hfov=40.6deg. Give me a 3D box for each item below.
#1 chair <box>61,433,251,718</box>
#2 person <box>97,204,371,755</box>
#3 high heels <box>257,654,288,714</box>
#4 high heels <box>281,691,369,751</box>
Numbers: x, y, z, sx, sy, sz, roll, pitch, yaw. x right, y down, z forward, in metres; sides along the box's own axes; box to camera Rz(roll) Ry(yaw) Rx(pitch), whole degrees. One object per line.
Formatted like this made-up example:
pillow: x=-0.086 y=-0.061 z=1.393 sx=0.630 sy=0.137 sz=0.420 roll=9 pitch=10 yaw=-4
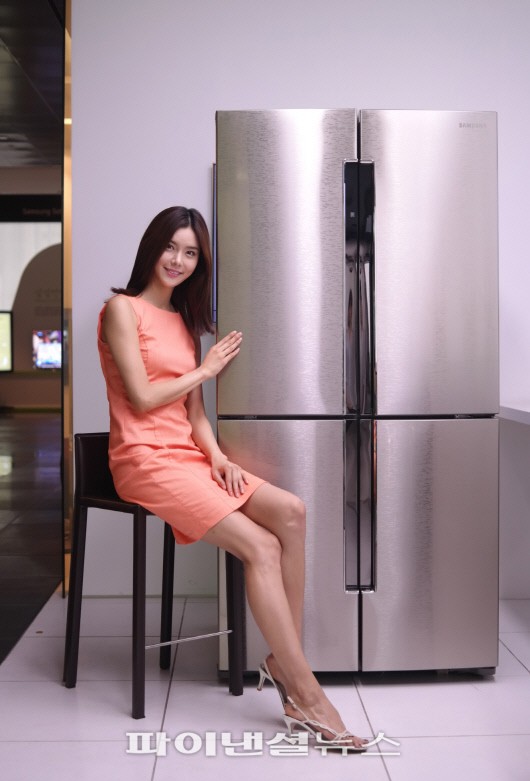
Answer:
chair: x=-0.315 y=0.496 z=2.051 sx=0.503 sy=0.707 sz=0.491 roll=2 pitch=-8 yaw=-11
person: x=-0.123 y=0.165 z=1.982 sx=0.827 sy=1.359 sz=0.363 roll=1 pitch=2 yaw=26
high heels: x=0.018 y=0.746 z=1.828 sx=0.062 sy=0.173 sz=0.056 roll=-10 pitch=-7 yaw=2
high heels: x=0.139 y=0.800 z=1.744 sx=0.229 sy=0.120 sz=0.082 roll=1 pitch=-8 yaw=11
